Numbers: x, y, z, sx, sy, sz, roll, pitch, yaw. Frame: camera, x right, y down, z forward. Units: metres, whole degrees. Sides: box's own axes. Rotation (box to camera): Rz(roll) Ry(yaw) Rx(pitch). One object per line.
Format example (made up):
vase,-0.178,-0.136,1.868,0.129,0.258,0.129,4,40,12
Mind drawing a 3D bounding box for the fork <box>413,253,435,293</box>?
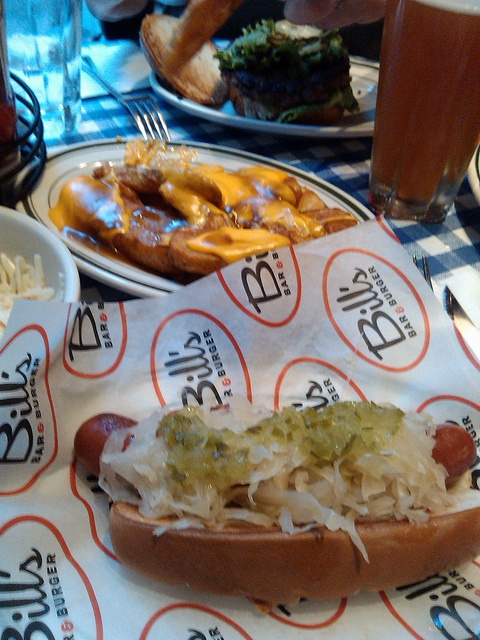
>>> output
fork,0.455,-0.113,1.203,0.022,0.019,0.178,14,33,2
